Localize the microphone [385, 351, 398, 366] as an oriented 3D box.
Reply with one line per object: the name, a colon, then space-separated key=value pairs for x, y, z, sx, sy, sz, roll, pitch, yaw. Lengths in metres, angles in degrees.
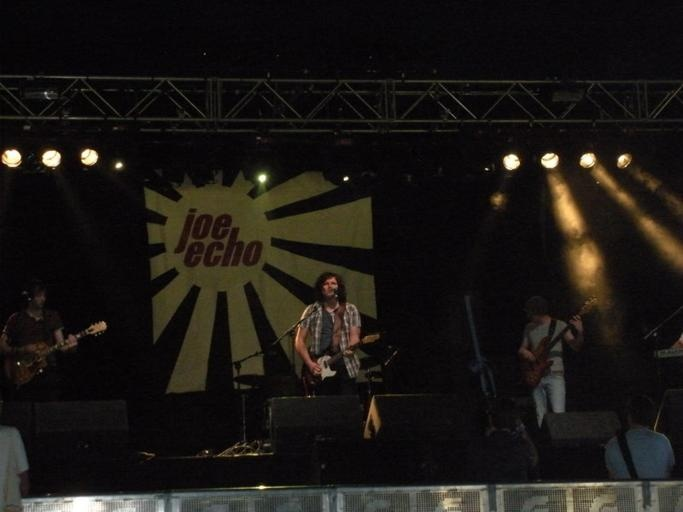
microphone: x=0.633 y=1.305 z=10.667 sx=0.179 sy=0.197 sz=0.272 roll=-2 pitch=-14 yaw=3

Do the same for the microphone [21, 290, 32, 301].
microphone: x=-3.746 y=0.463 z=9.783 sx=0.098 sy=0.147 sz=0.042 roll=-15 pitch=5 yaw=23

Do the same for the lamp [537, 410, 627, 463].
lamp: x=2.227 y=1.702 z=7.627 sx=0.612 sy=0.366 sz=0.441 roll=-3 pitch=21 yaw=7

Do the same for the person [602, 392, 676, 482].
person: x=2.540 y=1.572 z=7.281 sx=0.657 sy=0.982 sz=0.730 roll=1 pitch=-13 yaw=16

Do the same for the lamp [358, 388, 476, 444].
lamp: x=0.684 y=1.351 z=6.933 sx=0.828 sy=0.388 sz=0.192 roll=-3 pitch=-14 yaw=8
